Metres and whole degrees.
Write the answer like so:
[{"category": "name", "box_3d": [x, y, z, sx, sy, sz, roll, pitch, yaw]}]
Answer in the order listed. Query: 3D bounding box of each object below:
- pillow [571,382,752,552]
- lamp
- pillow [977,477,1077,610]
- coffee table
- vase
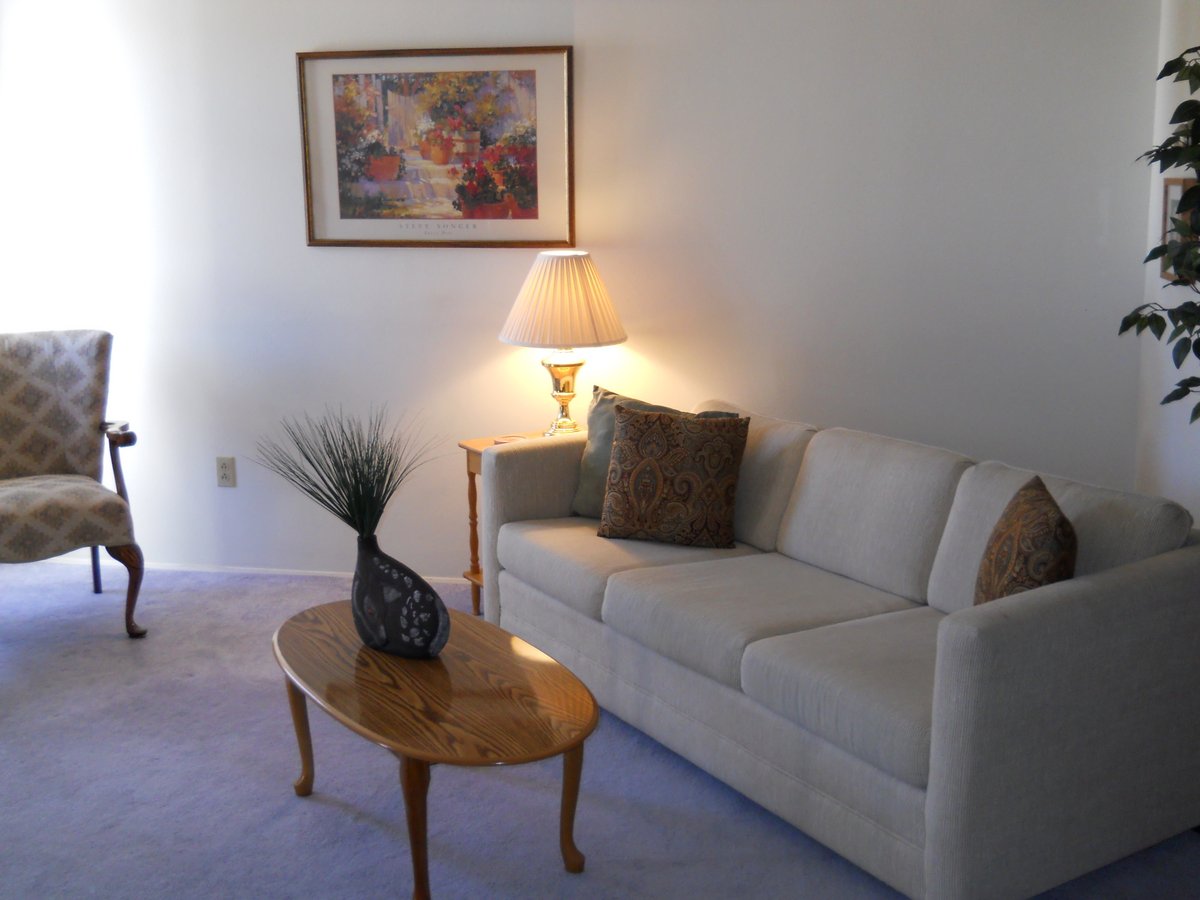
[{"category": "pillow", "box_3d": [0.227, 0.084, 3.520, 0.526, 0.557, 0.193, 9, -12, 24]}, {"category": "lamp", "box_3d": [-0.152, -0.453, 4.074, 0.491, 0.772, 0.505, 2, 14, 7]}, {"category": "pillow", "box_3d": [1.157, 0.265, 2.576, 0.225, 0.314, 0.364, 7, 15, 24]}, {"category": "coffee table", "box_3d": [-0.405, 0.635, 2.495, 0.587, 0.515, 0.972, -9, 19, -36]}, {"category": "vase", "box_3d": [-0.578, 0.400, 2.679, 0.305, 0.336, 0.114, 8, 16, 20]}]
